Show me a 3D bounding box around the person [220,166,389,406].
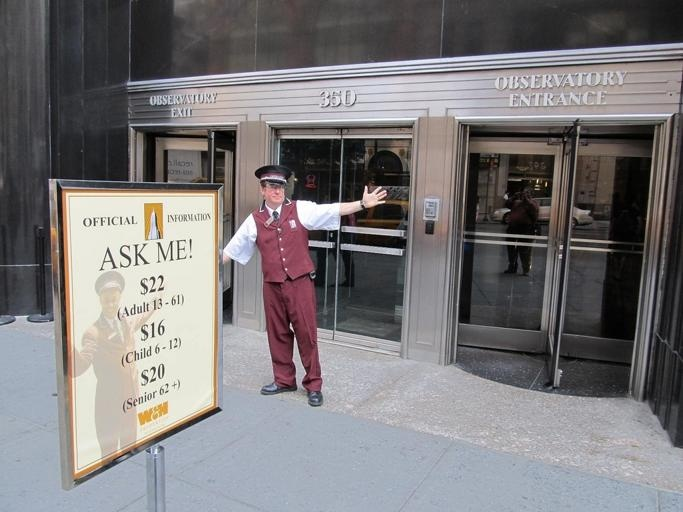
[{"bbox_3d":[-0.437,0.273,5.546,0.810,2.185,0.570,1,14,-1],"label":"person"}]

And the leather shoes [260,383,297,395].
[{"bbox_3d":[-0.621,1.287,5.828,0.336,0.124,0.121,4,-4,-21],"label":"leather shoes"}]

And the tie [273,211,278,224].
[{"bbox_3d":[-0.608,-0.355,5.430,0.077,0.101,0.027,-1,-9,-2],"label":"tie"}]

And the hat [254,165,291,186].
[{"bbox_3d":[-0.637,-0.756,5.483,0.301,0.174,0.242,0,14,-7],"label":"hat"}]

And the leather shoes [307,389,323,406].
[{"bbox_3d":[-0.254,1.330,5.571,0.127,0.106,0.285,0,-6,-5],"label":"leather shoes"}]
